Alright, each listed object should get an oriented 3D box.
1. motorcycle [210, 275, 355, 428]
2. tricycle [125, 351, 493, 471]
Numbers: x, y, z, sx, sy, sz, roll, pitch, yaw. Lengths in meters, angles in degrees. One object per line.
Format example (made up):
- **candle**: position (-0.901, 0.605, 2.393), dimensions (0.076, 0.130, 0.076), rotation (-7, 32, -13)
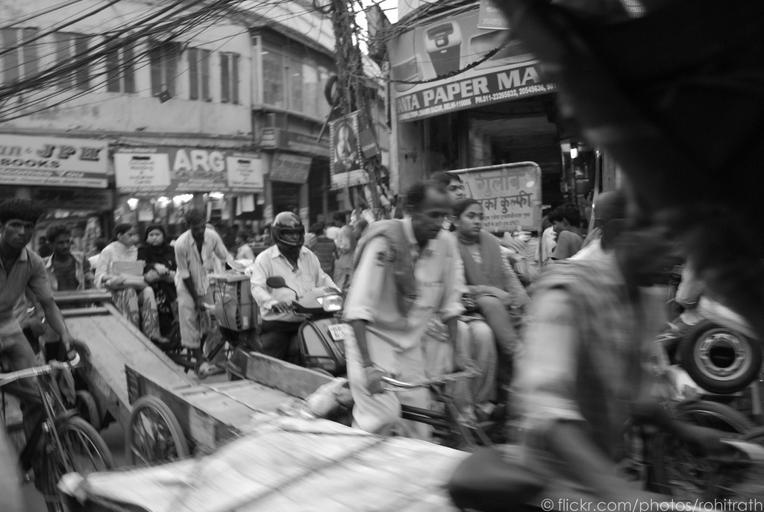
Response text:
- **motorcycle**: position (-0.948, 0.697, 5.692), dimensions (0.783, 0.965, 1.580), rotation (-2, 4, -45)
- **tricycle**: position (-1.062, 1.021, 4.652), dimensions (1.025, 0.565, 1.861), rotation (0, -7, -38)
